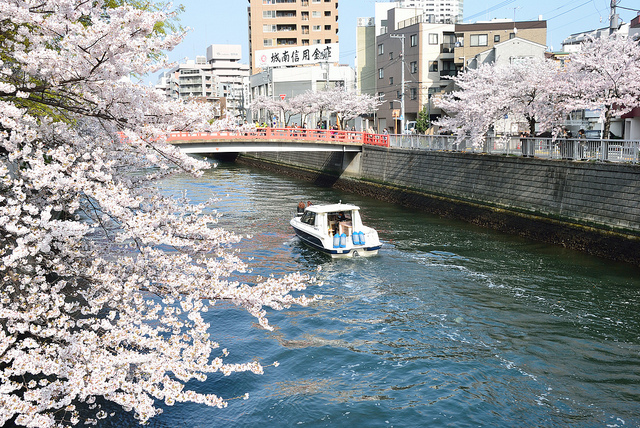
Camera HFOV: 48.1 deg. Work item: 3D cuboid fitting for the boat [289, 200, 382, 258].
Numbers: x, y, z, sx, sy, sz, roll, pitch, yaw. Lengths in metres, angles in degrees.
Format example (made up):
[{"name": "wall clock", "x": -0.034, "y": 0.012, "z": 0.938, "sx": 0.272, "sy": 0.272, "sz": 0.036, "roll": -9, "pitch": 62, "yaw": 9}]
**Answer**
[{"name": "boat", "x": 0.660, "y": 0.567, "z": 26.883, "sx": 1.837, "sy": 1.786, "sz": 3.645, "roll": -4, "pitch": 9, "yaw": -24}]
